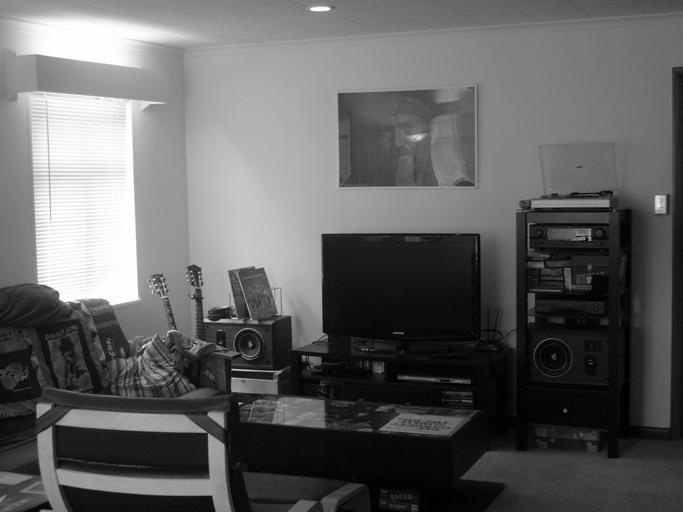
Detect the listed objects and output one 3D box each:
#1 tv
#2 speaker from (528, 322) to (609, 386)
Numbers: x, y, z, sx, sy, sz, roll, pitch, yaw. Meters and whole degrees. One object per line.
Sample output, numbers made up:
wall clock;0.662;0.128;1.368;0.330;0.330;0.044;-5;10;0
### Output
tv;0.507;0.287;4.518;0.977;0.634;0.100;1;1;17
speaker;1.545;0.682;4.005;0.603;0.405;0.348;0;-1;26
